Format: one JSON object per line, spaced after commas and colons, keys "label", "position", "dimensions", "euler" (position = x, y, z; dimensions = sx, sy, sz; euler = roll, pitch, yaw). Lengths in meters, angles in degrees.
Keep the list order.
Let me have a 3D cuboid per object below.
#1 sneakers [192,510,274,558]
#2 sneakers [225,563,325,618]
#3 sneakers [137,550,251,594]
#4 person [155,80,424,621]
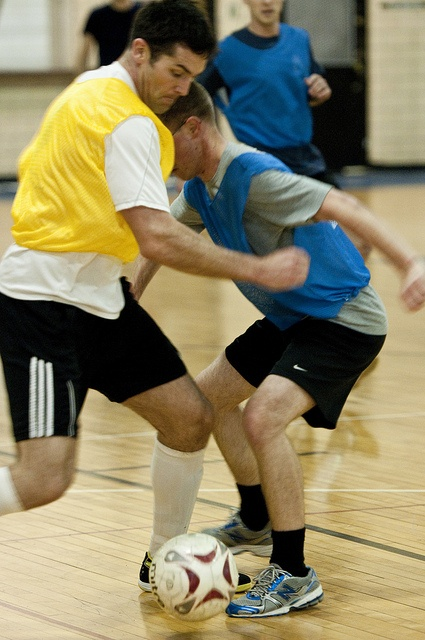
{"label": "sneakers", "position": [0.049, 0.691, 2.120], "dimensions": [0.280, 0.123, 0.097], "euler": [7, 5, -8]}
{"label": "sneakers", "position": [0.163, 0.698, 1.707], "dimensions": [0.284, 0.121, 0.095], "euler": [-4, -6, -21]}
{"label": "sneakers", "position": [-0.020, 0.704, 1.840], "dimensions": [0.377, 0.132, 0.120], "euler": [0, 14, -2]}
{"label": "person", "position": [0.096, 0.107, 2.692], "dimensions": [1.315, 2.101, 1.155], "euler": [-1, 1, -12]}
